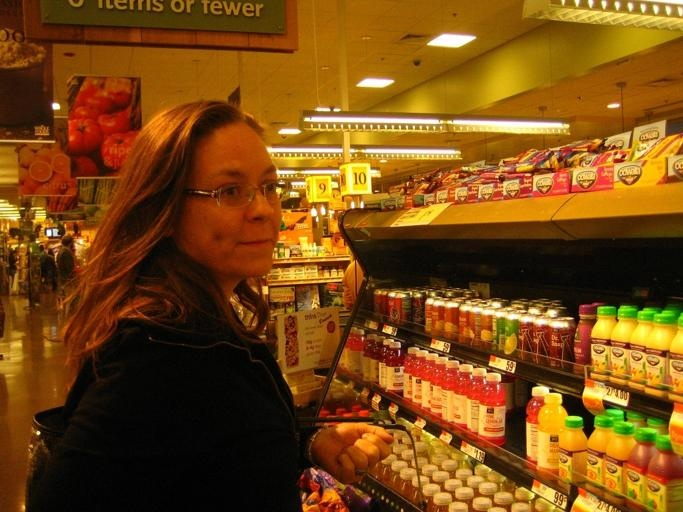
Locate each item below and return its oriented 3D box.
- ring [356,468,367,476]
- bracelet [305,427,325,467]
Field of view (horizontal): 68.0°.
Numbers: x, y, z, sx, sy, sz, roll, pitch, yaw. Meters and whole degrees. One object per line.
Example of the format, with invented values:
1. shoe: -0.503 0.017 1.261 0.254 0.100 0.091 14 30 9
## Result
1. ring: 0.057 0.636 1.484 0.034 0.006 0.030 0 2 1
2. bracelet: -0.074 0.567 1.489 0.073 0.082 0.031 1 -4 -41
